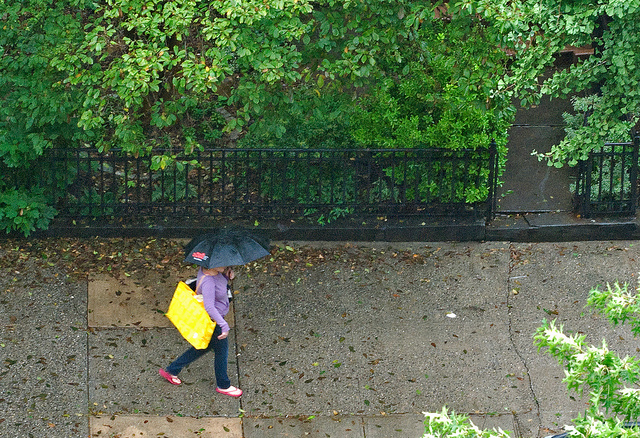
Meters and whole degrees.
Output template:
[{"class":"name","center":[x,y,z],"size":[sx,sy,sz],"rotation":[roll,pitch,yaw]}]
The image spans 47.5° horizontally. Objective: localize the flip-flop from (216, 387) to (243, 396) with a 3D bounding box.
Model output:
[{"class":"flip-flop","center":[-1.083,2.034,8.585],"size":[0.279,0.074,0.106],"rotation":[6,5,-2]}]

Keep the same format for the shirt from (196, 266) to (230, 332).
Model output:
[{"class":"shirt","center":[-1.213,0.895,8.171],"size":[0.210,0.653,0.380],"rotation":[-15,54,-14]}]

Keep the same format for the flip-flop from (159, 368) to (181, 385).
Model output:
[{"class":"flip-flop","center":[-1.781,1.855,8.734],"size":[0.312,0.129,0.106],"rotation":[36,47,-1]}]

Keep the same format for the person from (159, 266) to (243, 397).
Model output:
[{"class":"person","center":[-1.404,1.403,8.632],"size":[0.814,1.415,0.614],"rotation":[-8,58,-21]}]
